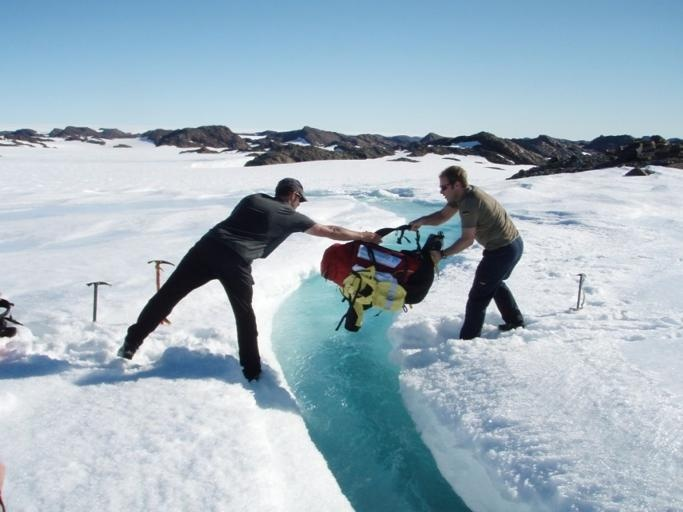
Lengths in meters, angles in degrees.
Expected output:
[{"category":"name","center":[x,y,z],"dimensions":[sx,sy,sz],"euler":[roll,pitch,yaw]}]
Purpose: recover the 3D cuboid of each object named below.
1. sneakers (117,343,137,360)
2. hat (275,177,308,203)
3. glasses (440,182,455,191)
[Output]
[{"category":"sneakers","center":[-2.008,0.886,4.969],"dimensions":[0.165,0.180,0.114],"euler":[-5,17,-22]},{"category":"hat","center":[-0.481,-0.675,5.309],"dimensions":[0.277,0.146,0.355],"euler":[6,1,33]},{"category":"glasses","center":[1.088,-0.736,5.502],"dimensions":[0.149,0.031,0.114],"euler":[4,1,-3]}]
